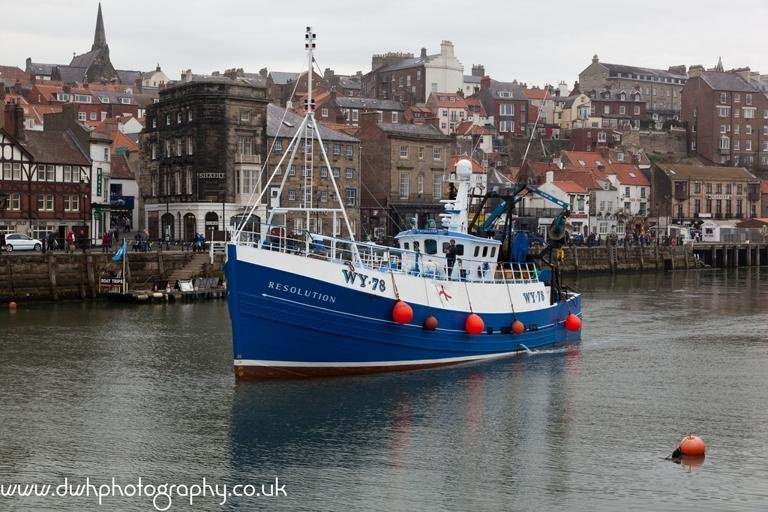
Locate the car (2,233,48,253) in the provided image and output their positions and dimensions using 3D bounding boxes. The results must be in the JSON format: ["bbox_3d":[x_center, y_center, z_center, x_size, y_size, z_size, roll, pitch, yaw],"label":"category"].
[{"bbox_3d":[-25.357,-0.890,88.617,2.729,0.895,1.315,-2,2,-21],"label":"car"}]
